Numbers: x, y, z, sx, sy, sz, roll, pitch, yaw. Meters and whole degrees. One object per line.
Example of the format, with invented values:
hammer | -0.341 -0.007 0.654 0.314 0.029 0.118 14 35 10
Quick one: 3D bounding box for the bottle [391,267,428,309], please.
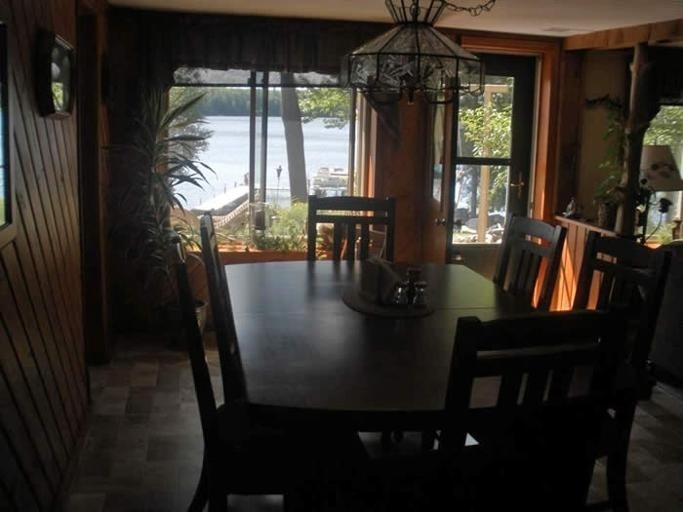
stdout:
bottle | 0.337 0.164 2.762 0.159 0.195 0.193 0 6 -5
